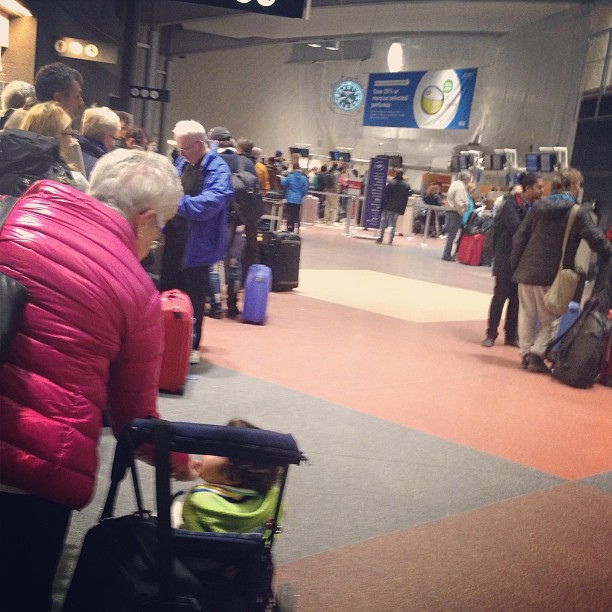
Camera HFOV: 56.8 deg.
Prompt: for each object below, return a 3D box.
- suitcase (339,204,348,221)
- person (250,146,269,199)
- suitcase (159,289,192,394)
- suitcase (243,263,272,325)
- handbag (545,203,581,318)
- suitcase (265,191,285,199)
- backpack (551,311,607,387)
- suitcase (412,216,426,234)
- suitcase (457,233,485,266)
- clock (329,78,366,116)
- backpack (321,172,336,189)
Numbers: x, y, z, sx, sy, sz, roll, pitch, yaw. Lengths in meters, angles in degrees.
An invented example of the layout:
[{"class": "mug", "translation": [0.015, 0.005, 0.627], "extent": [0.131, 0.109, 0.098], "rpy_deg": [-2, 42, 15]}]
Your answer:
[{"class": "suitcase", "translation": [1.432, -3.736, 22.800], "extent": [0.494, 0.800, 0.463], "rpy_deg": [0, 6, 4]}, {"class": "person", "translation": [-0.949, -3.052, 13.290], "extent": [0.456, 1.483, 0.448], "rpy_deg": [-21, 59, -13]}, {"class": "suitcase", "translation": [-0.893, 0.259, 3.842], "extent": [0.230, 0.609, 0.509], "rpy_deg": [6, 11, -14]}, {"class": "suitcase", "translation": [-0.540, -0.115, 6.132], "extent": [0.273, 0.642, 0.262], "rpy_deg": [8, 11, -6]}, {"class": "handbag", "translation": [2.448, -0.414, 5.272], "extent": [0.246, 1.079, 0.218], "rpy_deg": [13, 12, 18]}, {"class": "suitcase", "translation": [-0.768, -2.749, 14.019], "extent": [0.228, 0.185, 0.598], "rpy_deg": [15, 12, 35]}, {"class": "backpack", "translation": [2.545, 0.381, 5.223], "extent": [0.368, 0.697, 0.291], "rpy_deg": [13, 12, 22]}, {"class": "suitcase", "translation": [4.143, -2.966, 20.708], "extent": [0.395, 0.646, 0.432], "rpy_deg": [11, 11, 9]}, {"class": "suitcase", "translation": [3.972, -1.356, 13.528], "extent": [0.356, 0.923, 0.657], "rpy_deg": [-2, 17, -39]}, {"class": "clock", "translation": [1.778, -8.736, 23.619], "extent": [1.614, 1.419, 0.360], "rpy_deg": [12, 28, 25]}, {"class": "backpack", "translation": [0.781, -4.460, 20.139], "extent": [0.503, 0.789, 0.443], "rpy_deg": [8, 28, 12]}]
